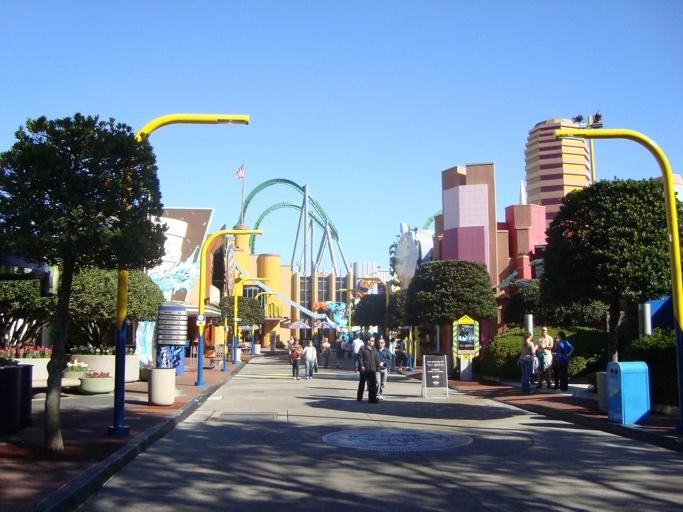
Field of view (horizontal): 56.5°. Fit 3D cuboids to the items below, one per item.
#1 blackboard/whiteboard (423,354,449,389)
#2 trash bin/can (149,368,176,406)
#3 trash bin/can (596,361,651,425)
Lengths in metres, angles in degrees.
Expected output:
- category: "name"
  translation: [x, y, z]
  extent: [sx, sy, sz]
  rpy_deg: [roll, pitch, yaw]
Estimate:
- category: "blackboard/whiteboard"
  translation: [3.259, 3.842, 22.023]
  extent: [0.812, 0.747, 1.252]
  rpy_deg: [-3, -55, 10]
- category: "trash bin/can"
  translation: [-5.138, 3.769, 18.556]
  extent: [0.833, 1.175, 0.963]
  rpy_deg: [0, -8, 1]
- category: "trash bin/can"
  translation: [6.676, 3.124, 14.835]
  extent: [0.827, 1.473, 0.980]
  rpy_deg: [-2, -3, 3]
